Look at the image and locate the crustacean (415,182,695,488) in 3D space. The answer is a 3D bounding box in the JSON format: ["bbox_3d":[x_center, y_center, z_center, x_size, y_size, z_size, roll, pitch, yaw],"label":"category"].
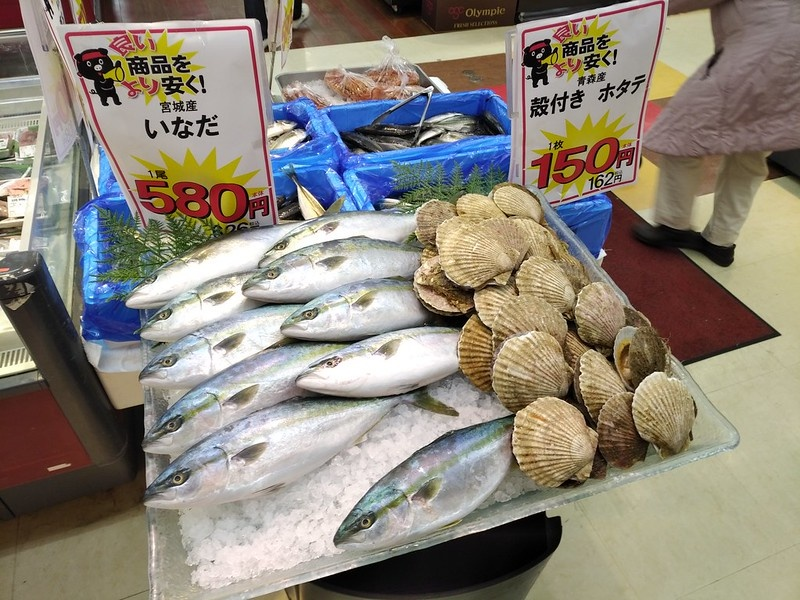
[{"bbox_3d":[0.371,0.119,1.704,0.626,0.225,0.834,-22,73,-15],"label":"crustacean"}]

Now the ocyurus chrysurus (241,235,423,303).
[{"bbox_3d":[-0.197,-0.088,1.693,0.448,0.097,0.135,-12,76,-17],"label":"ocyurus chrysurus"}]

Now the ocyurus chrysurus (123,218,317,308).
[{"bbox_3d":[-0.564,-0.110,1.773,0.485,0.071,0.123,-28,71,-24],"label":"ocyurus chrysurus"}]

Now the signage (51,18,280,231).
[{"bbox_3d":[-0.710,-0.563,1.886,0.593,0.690,0.209,-9,39,-6],"label":"signage"}]

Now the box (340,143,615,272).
[{"bbox_3d":[0.397,-0.529,2.672,1.008,0.396,0.691,-8,43,-5],"label":"box"}]

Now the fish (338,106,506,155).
[{"bbox_3d":[0.113,-0.979,3.307,0.787,0.172,0.434,-9,43,-8],"label":"fish"}]

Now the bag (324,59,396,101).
[{"bbox_3d":[-0.283,-1.481,3.872,0.422,0.180,0.364,29,37,33],"label":"bag"}]
